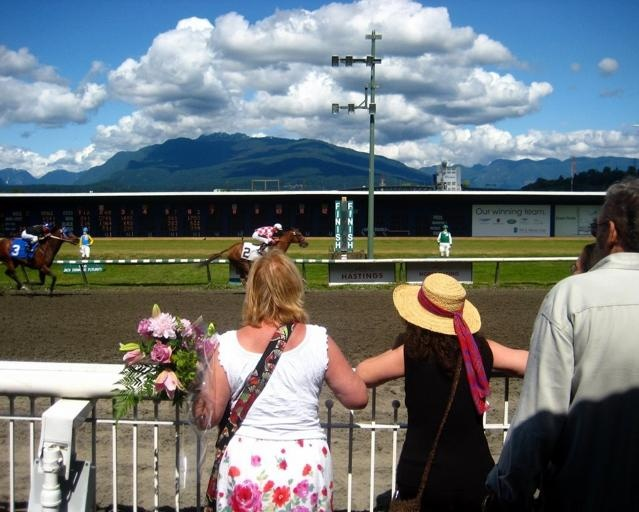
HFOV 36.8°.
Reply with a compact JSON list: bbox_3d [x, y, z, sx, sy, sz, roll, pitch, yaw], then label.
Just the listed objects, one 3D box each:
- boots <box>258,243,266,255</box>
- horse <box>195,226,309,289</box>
[{"bbox_3d":[-0.906,-0.115,15.092,0.104,0.159,0.047,-6,-26,28],"label":"boots"},{"bbox_3d":[-1.206,0.066,17.500,1.974,1.131,0.454,-4,-9,8],"label":"horse"}]
